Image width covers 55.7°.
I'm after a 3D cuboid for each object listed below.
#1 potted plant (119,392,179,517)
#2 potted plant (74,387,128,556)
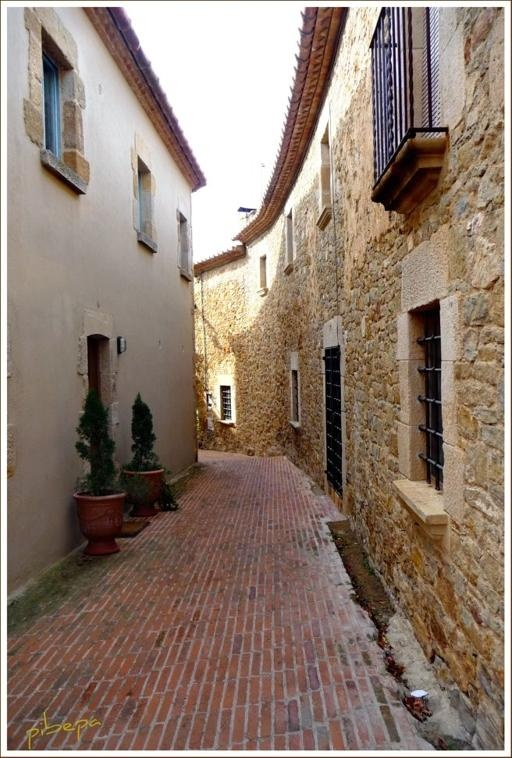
[{"bbox_3d":[-1.315,0.975,6.007,0.707,1.543,1.951,0,-2,-14],"label":"potted plant"},{"bbox_3d":[-1.508,0.896,4.595,0.504,1.558,0.537,0,-1,-7],"label":"potted plant"}]
